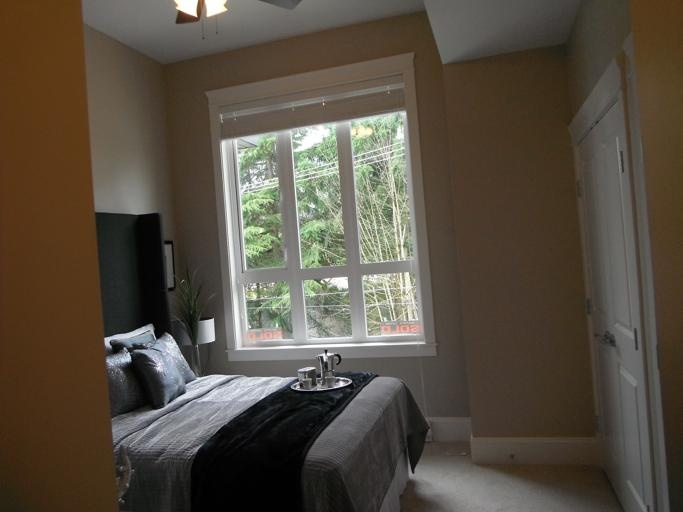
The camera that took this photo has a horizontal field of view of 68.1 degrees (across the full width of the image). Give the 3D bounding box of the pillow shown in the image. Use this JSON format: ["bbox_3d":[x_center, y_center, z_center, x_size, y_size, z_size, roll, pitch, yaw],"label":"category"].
[{"bbox_3d":[-1.222,0.722,3.174,0.179,0.607,0.614,-27,-10,28],"label":"pillow"}]

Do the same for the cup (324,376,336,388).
[{"bbox_3d":[-0.074,0.811,3.275,0.055,0.046,0.054,-4,-5,0],"label":"cup"}]

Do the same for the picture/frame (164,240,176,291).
[{"bbox_3d":[-1.556,0.085,4.576,0.063,0.357,0.320,-4,3,-11],"label":"picture/frame"}]

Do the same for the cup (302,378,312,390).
[{"bbox_3d":[-0.225,0.814,3.241,0.055,0.069,0.059,-4,-1,0],"label":"cup"}]
